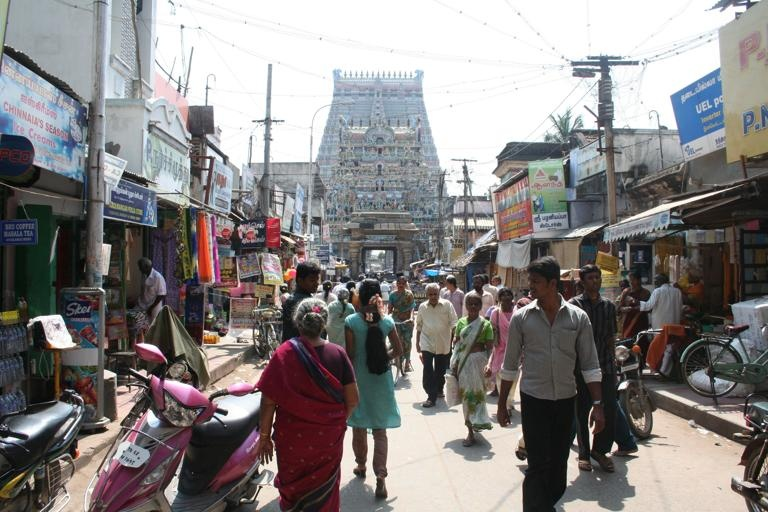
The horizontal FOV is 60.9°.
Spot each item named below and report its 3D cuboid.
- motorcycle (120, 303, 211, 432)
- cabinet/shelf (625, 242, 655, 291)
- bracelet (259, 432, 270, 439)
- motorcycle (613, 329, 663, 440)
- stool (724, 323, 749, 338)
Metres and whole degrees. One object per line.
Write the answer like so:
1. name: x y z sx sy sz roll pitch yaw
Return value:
1. motorcycle: -2.976 1.338 9.030 0.893 1.019 1.511 3 -1 2
2. cabinet/shelf: 7.067 0.321 17.865 0.702 1.484 0.451 2 9 39
3. bracelet: -1.271 1.922 6.947 0.097 0.091 0.076 9 -21 -19
4. motorcycle: 3.604 1.966 9.498 0.829 1.015 1.494 -3 0 8
5. stool: 5.603 1.170 10.305 0.366 0.125 0.272 -3 -2 -27
